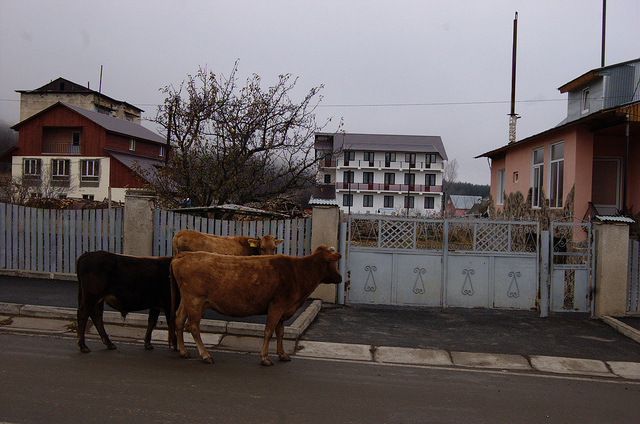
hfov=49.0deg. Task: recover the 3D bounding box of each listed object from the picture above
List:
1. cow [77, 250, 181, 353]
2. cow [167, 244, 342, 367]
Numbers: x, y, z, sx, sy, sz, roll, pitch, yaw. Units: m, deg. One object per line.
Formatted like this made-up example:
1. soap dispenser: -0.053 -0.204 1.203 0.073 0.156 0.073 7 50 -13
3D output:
1. cow: -4.806 2.479 19.561 3.616 2.967 1.091 2 7 -19
2. cow: -1.673 2.460 19.377 4.713 3.793 1.619 3 7 -7
